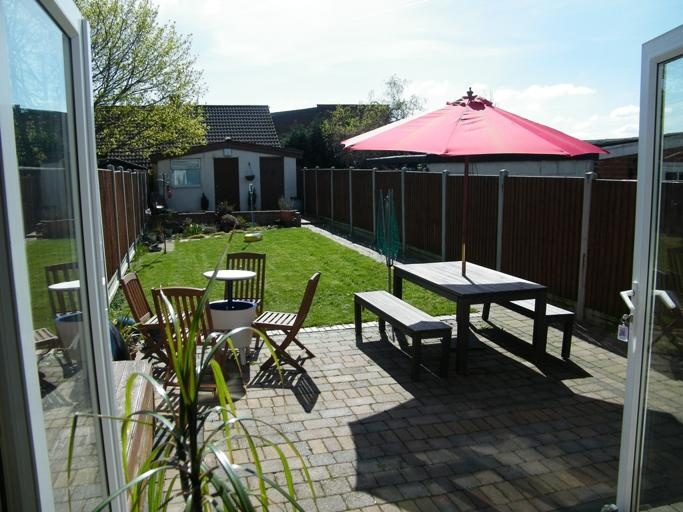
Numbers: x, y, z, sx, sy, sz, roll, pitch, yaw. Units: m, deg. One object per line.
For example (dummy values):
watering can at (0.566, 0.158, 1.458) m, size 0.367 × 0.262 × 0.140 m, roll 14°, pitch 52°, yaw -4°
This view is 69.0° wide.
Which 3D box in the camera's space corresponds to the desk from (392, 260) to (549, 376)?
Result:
desk at (1.726, 0.711, 6.827) m, size 1.265 × 0.997 × 2.060 m, roll -8°, pitch 12°, yaw -18°

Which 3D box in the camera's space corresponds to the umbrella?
umbrella at (1.523, -1.525, 6.966) m, size 2.788 × 2.221 × 2.820 m, roll -4°, pitch 8°, yaw -20°
